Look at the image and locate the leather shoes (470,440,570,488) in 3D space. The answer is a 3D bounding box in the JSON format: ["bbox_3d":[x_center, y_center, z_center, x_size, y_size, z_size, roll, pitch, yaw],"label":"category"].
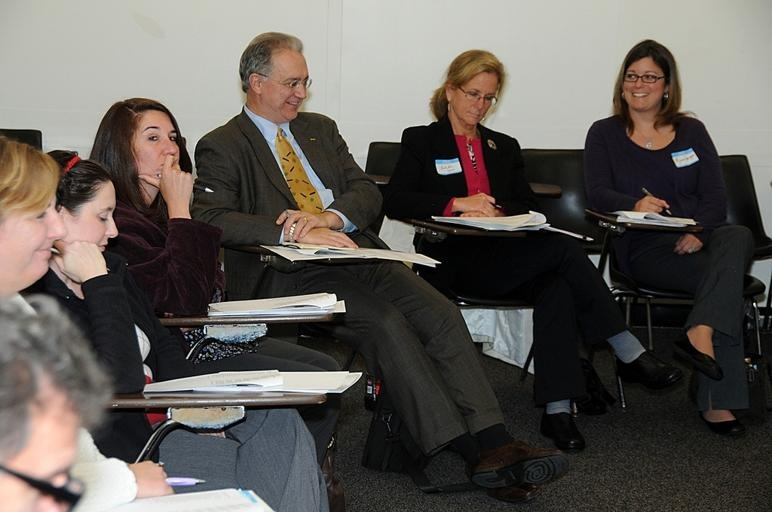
[{"bbox_3d":[0.428,0.690,1.969,0.361,0.133,0.166,-4,27,7],"label":"leather shoes"}]

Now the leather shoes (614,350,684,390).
[{"bbox_3d":[1.123,0.502,2.538,0.292,0.123,0.144,1,22,41],"label":"leather shoes"}]

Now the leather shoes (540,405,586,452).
[{"bbox_3d":[0.715,0.707,2.376,0.089,0.097,0.245,-1,0,-20],"label":"leather shoes"}]

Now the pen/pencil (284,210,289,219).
[{"bbox_3d":[-0.388,-0.161,2.272,0.022,0.022,0.009,14,-16,45],"label":"pen/pencil"}]

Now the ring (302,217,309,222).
[{"bbox_3d":[-0.313,-0.136,2.264,0.017,0.017,0.004,5,-16,-34],"label":"ring"}]

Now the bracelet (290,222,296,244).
[{"bbox_3d":[-0.359,-0.089,2.228,0.014,0.056,0.053,9,-18,-7],"label":"bracelet"}]

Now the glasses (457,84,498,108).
[{"bbox_3d":[0.428,-0.786,2.841,0.132,0.041,0.133,0,28,-30],"label":"glasses"}]

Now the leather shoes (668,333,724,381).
[{"bbox_3d":[1.315,0.436,2.510,0.278,0.119,0.095,32,-1,23],"label":"leather shoes"}]

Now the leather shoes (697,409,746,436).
[{"bbox_3d":[1.445,0.701,2.498,0.089,0.066,0.167,-19,16,-27],"label":"leather shoes"}]

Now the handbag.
[{"bbox_3d":[-0.013,0.637,2.143,0.089,0.298,0.219,2,7,-20],"label":"handbag"}]
